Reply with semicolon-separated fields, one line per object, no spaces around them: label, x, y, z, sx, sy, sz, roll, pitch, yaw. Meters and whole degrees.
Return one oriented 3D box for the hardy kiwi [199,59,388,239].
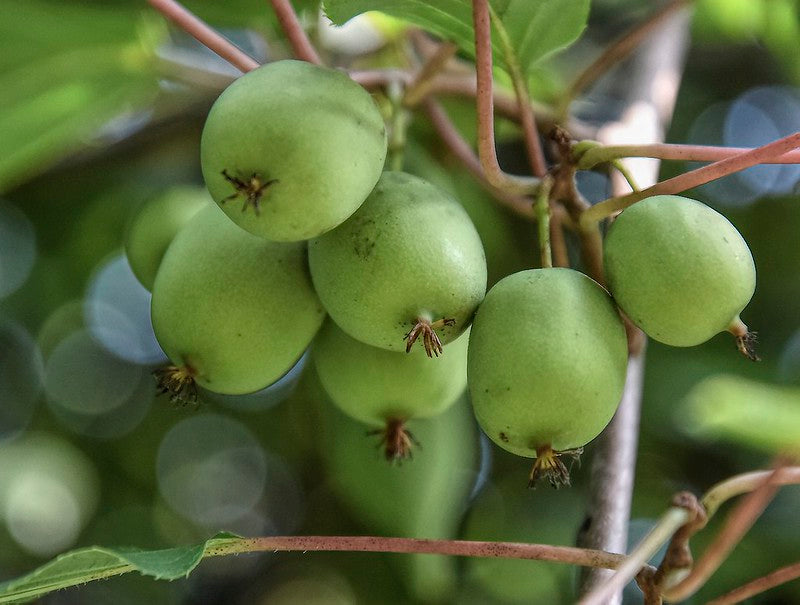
hardy kiwi;-0.137;-0.197;1.190;0.226;0.075;0.224;12;80;1

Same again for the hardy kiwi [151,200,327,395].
hardy kiwi;-0.218;0.005;1.393;0.202;0.206;0.276;29;65;5

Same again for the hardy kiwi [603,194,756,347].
hardy kiwi;0.373;-0.055;1.292;0.207;0.162;0.163;44;120;24
